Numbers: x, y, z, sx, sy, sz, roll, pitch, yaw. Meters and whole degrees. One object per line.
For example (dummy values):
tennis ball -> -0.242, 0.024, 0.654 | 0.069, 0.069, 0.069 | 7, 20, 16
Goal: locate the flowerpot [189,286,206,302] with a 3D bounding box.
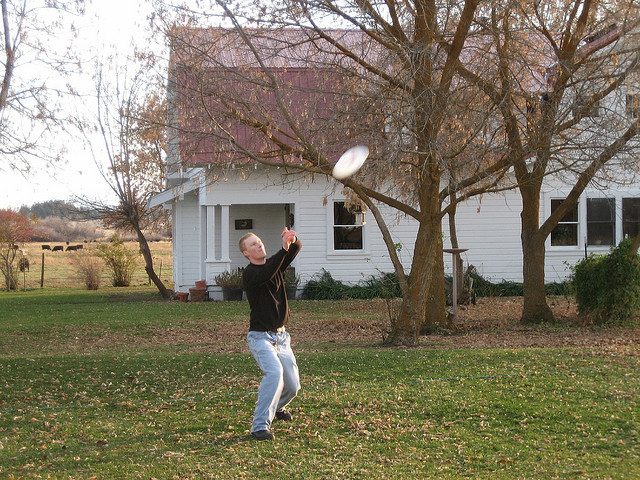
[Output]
flowerpot -> -3.613, 1.533, 25.985 | 0.374, 0.308, 0.395 | 1, -3, 3

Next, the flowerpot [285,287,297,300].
flowerpot -> -0.902, 1.518, 26.207 | 0.218, 0.327, 0.540 | 1, 8, 17

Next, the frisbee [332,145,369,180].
frisbee -> 0.486, -1.310, 15.227 | 0.567, 0.530, 0.423 | -2, 8, -3

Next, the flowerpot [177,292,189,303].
flowerpot -> -4.100, 1.644, 26.294 | 0.253, 0.210, 0.266 | 0, -4, -6

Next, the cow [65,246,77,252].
cow -> -19.693, 0.628, 70.113 | 1.100, 0.597, 0.305 | 5, 3, 0

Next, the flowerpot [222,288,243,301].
flowerpot -> -2.570, 1.508, 25.702 | 0.576, 0.314, 0.320 | -3, 8, -7
